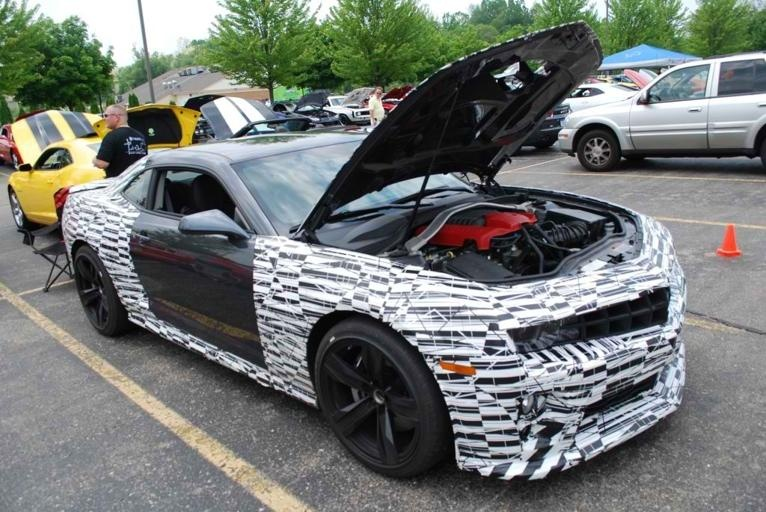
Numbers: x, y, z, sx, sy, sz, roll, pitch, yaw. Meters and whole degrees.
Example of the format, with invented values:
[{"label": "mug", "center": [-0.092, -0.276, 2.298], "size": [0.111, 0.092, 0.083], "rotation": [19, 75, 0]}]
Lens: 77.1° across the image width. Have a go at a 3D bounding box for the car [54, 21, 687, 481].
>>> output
[{"label": "car", "center": [-0.445, -0.300, 4.434], "size": [5.543, 1.859, 2.657], "rotation": [10, 18, 37]}]
